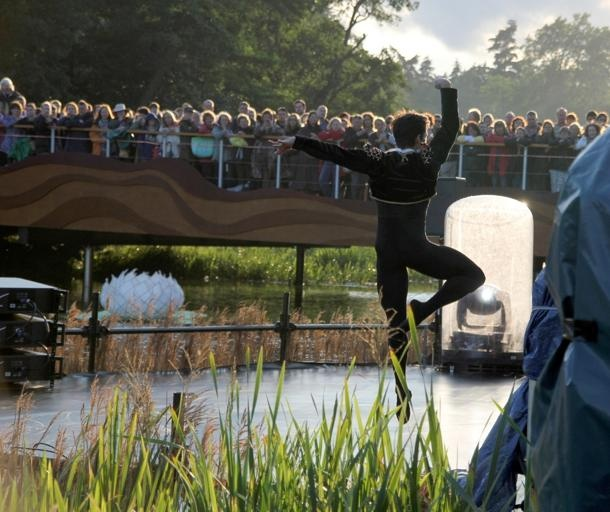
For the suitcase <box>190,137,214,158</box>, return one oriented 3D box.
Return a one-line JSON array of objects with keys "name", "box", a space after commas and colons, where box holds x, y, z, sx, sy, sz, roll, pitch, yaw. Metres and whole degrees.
[{"name": "suitcase", "box": [-1.805, -1.853, 24.433, 0.381, 0.399, 0.317, 5, 5, 31]}]
